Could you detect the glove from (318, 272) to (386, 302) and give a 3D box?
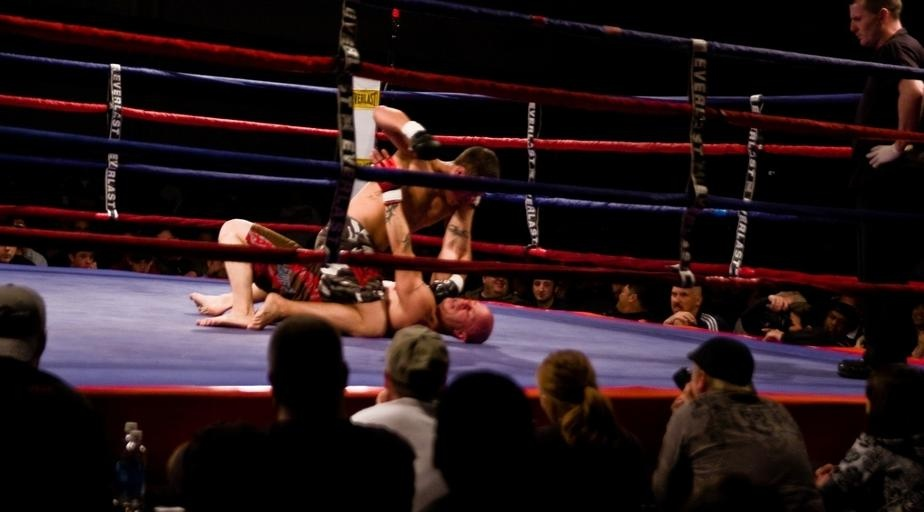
[{"bbox_3d":[-0.832,0.235,6.487,0.411,0.117,0.264,0,1,3],"label":"glove"}]

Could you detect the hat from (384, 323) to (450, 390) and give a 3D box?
[{"bbox_3d":[-0.271,0.649,5.306,0.367,0.435,0.134,4,-6,-3],"label":"hat"}]

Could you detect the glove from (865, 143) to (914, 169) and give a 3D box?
[{"bbox_3d":[3.235,-0.750,6.485,0.081,0.088,0.253,-11,-2,-27],"label":"glove"}]

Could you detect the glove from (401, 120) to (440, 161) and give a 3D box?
[{"bbox_3d":[-0.283,-0.810,5.967,0.227,0.296,0.296,5,-6,-15],"label":"glove"}]
